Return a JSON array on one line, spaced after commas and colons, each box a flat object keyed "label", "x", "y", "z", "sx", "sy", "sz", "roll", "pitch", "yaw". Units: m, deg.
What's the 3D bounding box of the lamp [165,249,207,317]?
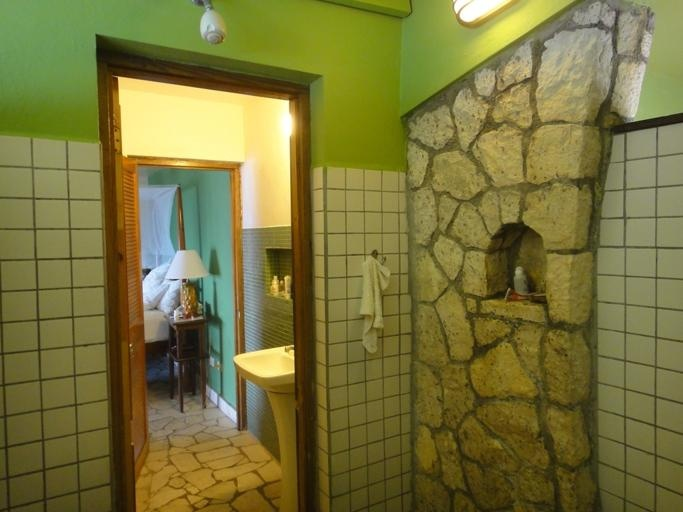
[{"label": "lamp", "x": -1.506, "y": 0.245, "z": 5.115, "sx": 0.367, "sy": 0.649, "sz": 0.662, "roll": -2, "pitch": 6, "yaw": -17}]

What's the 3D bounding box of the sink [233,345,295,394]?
[{"label": "sink", "x": -0.437, "y": 0.716, "z": 3.270, "sx": 0.376, "sy": 0.177, "sz": 0.649, "roll": -3, "pitch": 7, "yaw": -24}]

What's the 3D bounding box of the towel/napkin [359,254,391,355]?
[{"label": "towel/napkin", "x": 0.190, "y": 0.259, "z": 2.878, "sx": 0.171, "sy": 0.575, "sz": 0.213, "roll": 0, "pitch": 6, "yaw": 4}]

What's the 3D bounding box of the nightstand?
[{"label": "nightstand", "x": -1.466, "y": 1.054, "z": 5.080, "sx": 0.381, "sy": 0.987, "sz": 0.730, "roll": -2, "pitch": 5, "yaw": -23}]
